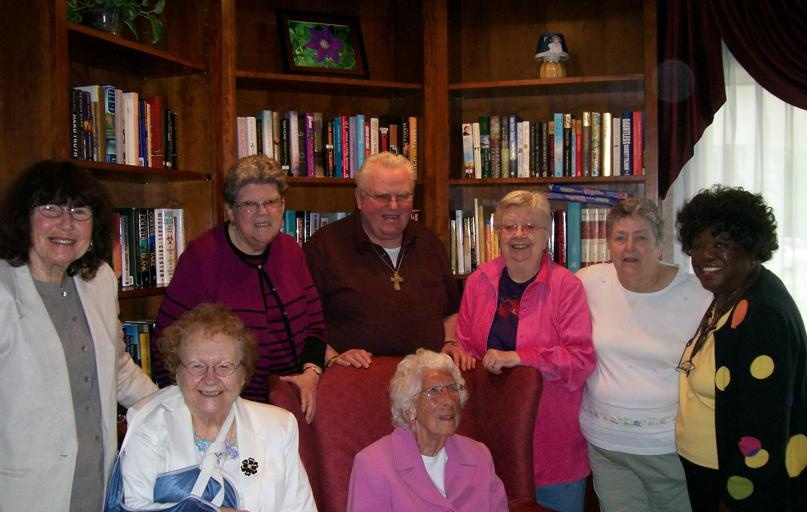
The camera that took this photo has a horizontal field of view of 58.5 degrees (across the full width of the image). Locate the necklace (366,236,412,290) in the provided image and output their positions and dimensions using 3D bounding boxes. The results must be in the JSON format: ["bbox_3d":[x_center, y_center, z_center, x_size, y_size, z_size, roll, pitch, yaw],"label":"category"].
[{"bbox_3d":[-0.059,0.072,3.956,0.241,0.232,0.106,-12,27,-35],"label":"necklace"}]

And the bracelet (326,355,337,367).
[{"bbox_3d":[-0.358,0.539,3.623,0.049,0.015,0.062,2,-36,-32],"label":"bracelet"}]

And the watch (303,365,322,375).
[{"bbox_3d":[-0.433,0.559,3.486,0.054,0.022,0.057,9,-11,37],"label":"watch"}]

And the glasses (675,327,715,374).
[{"bbox_3d":[1.362,0.448,3.319,0.062,0.201,0.197,-45,24,-17],"label":"glasses"}]

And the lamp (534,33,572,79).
[{"bbox_3d":[0.961,-1.306,4.694,0.196,0.332,0.163,-1,4,10],"label":"lamp"}]

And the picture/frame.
[{"bbox_3d":[-0.545,-1.339,4.610,0.592,0.474,0.041,1,-23,-20],"label":"picture/frame"}]
